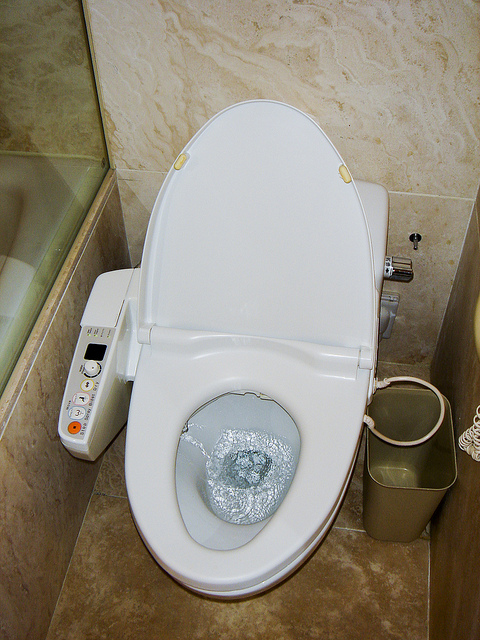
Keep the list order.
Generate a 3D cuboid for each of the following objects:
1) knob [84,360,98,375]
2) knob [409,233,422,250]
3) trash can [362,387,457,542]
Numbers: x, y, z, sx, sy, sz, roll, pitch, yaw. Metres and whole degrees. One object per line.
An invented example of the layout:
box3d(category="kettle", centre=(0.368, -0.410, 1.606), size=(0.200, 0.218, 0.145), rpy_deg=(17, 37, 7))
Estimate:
box3d(category="knob", centre=(-0.266, 0.085, 1.014), size=(0.015, 0.027, 0.015), rpy_deg=(0, -5, 6))
box3d(category="knob", centre=(0.395, -0.177, 1.275), size=(0.015, 0.044, 0.032), rpy_deg=(2, 9, 14))
box3d(category="trash can", centre=(0.346, 0.292, 1.151), size=(0.144, 0.378, 0.236), rpy_deg=(-1, 56, 4))
